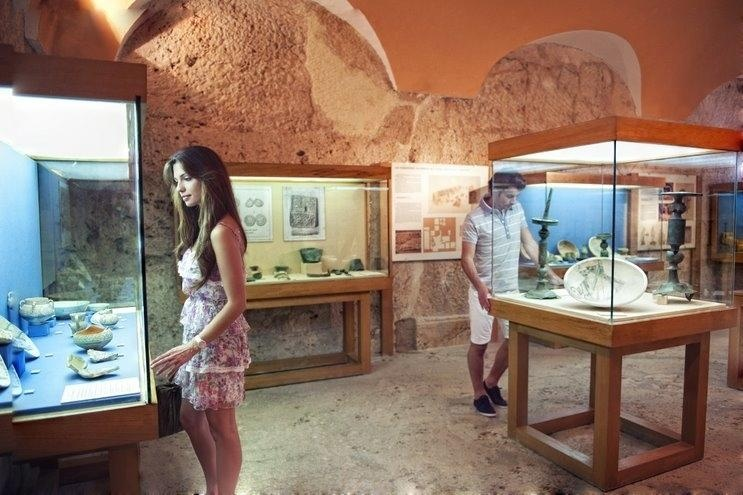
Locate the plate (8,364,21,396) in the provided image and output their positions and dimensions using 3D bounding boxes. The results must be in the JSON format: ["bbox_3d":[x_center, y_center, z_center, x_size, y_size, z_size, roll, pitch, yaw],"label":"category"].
[{"bbox_3d":[-2.121,0.789,3.235,0.059,0.187,0.075,-8,-3,-44],"label":"plate"}]

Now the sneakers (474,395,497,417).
[{"bbox_3d":[1.134,1.577,5.372,0.124,0.118,0.260,0,-4,-13],"label":"sneakers"}]

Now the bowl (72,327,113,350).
[{"bbox_3d":[-1.825,0.594,3.536,0.181,0.123,0.186,-1,-9,0],"label":"bowl"}]

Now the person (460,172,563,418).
[{"bbox_3d":[1.187,0.472,5.170,0.431,2.398,0.964,-5,12,-21],"label":"person"}]

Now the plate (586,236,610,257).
[{"bbox_3d":[1.783,-0.013,4.229,0.025,0.183,0.195,-6,12,-25],"label":"plate"}]

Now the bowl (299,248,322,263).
[{"bbox_3d":[-0.710,0.085,6.230,0.171,0.152,0.209,-1,-1,4],"label":"bowl"}]

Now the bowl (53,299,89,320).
[{"bbox_3d":[-1.967,0.386,3.517,0.174,0.064,0.170,1,1,0],"label":"bowl"}]

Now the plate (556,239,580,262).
[{"bbox_3d":[1.636,0.022,4.464,0.157,0.154,0.065,-15,-1,-8],"label":"plate"}]

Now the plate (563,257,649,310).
[{"bbox_3d":[1.819,0.268,4.282,0.451,0.469,0.175,18,-20,35],"label":"plate"}]
